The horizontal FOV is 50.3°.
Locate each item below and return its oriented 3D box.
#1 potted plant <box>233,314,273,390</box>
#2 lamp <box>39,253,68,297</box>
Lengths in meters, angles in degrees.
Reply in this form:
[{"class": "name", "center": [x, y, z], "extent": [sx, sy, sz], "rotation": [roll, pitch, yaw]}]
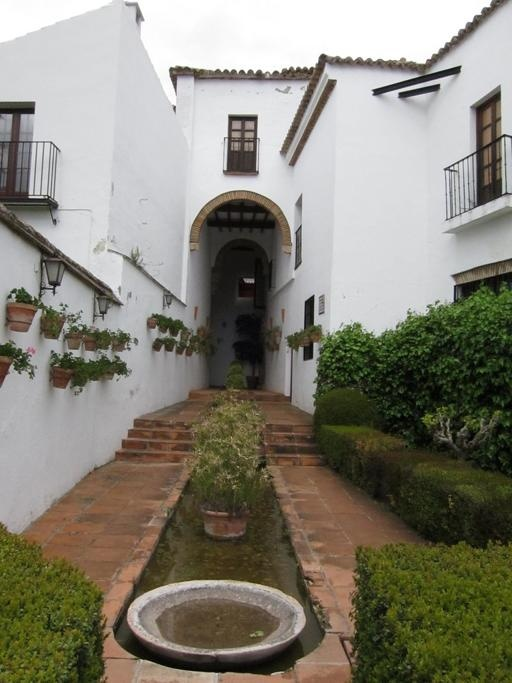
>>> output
[{"class": "potted plant", "center": [-0.255, 0.309, 22.698], "extent": [1.652, 2.398, 0.761], "rotation": [3, -2, 29]}, {"class": "lamp", "center": [-1.891, -0.589, 5.038], "extent": [0.196, 0.368, 0.427], "rotation": [4, -2, -16]}]
